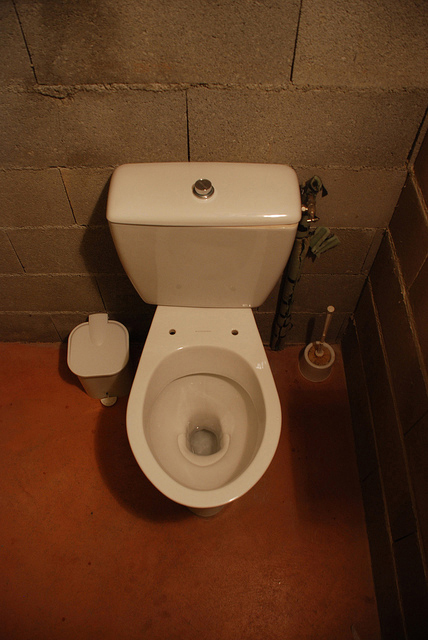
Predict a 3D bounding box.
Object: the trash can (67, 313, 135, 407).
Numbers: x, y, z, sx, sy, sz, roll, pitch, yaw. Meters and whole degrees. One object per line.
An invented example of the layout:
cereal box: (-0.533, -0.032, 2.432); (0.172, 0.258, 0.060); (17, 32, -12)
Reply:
trash can: (-0.335, 0.132, 1.790); (0.232, 0.300, 0.319); (-1, 64, -3)

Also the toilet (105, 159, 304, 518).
toilet: (-0.022, 0.169, 1.425); (0.465, 0.969, 0.755); (-1, 52, -3)
